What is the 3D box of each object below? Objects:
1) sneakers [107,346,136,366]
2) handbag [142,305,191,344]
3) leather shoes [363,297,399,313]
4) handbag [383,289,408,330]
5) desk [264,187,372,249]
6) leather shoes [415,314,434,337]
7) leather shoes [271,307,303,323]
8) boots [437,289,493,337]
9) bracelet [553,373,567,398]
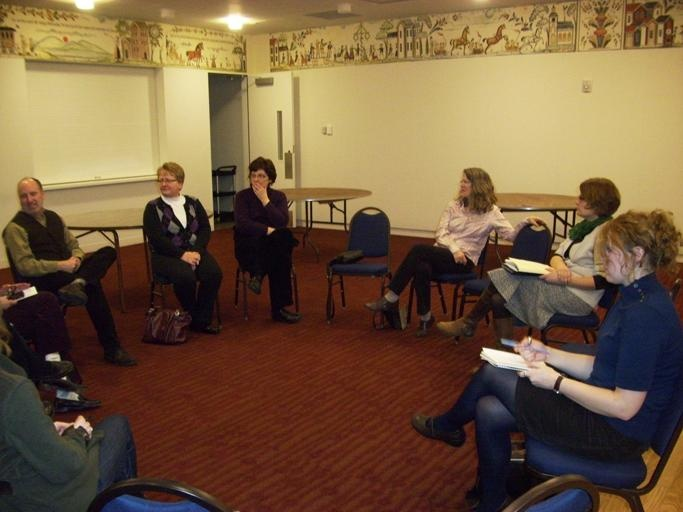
[{"bbox_3d":[-1.804,0.841,4.357,0.251,0.111,0.119,7,12,24],"label":"sneakers"},{"bbox_3d":[-1.556,0.615,4.737,0.384,0.369,0.181,4,-16,10],"label":"handbag"},{"bbox_3d":[0.383,0.462,4.918,0.263,0.120,0.150,3,3,-1],"label":"leather shoes"},{"bbox_3d":[0.515,0.518,5.001,0.173,0.448,0.149,0,37,22],"label":"handbag"},{"bbox_3d":[-0.320,-0.809,8.101,1.157,0.665,1.280,3,9,21],"label":"desk"},{"bbox_3d":[0.764,0.638,4.898,0.100,0.116,0.283,-6,32,47],"label":"leather shoes"},{"bbox_3d":[-0.551,0.587,5.273,0.251,0.119,0.133,1,8,14],"label":"leather shoes"},{"bbox_3d":[1.049,0.535,4.410,0.464,0.497,0.189,4,-19,29],"label":"boots"},{"bbox_3d":[0.914,0.550,2.214,0.049,0.080,0.072,21,61,26],"label":"bracelet"}]
